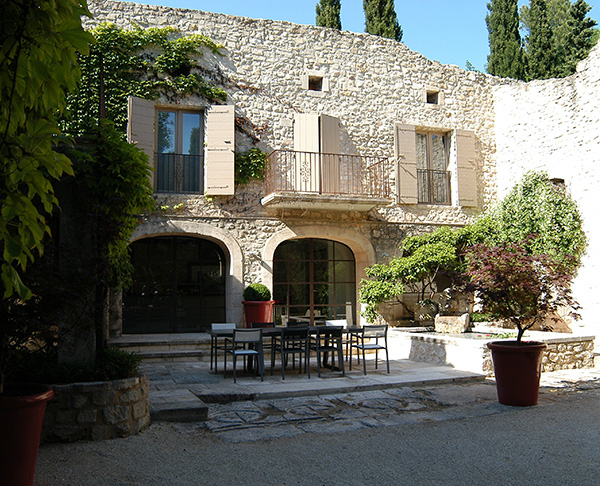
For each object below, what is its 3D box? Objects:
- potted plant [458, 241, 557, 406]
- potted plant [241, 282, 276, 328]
[{"bbox_3d":[2.712,1.015,7.408,1.074,2.025,0.589,-1,-2,16],"label":"potted plant"},{"bbox_3d":[-0.817,1.162,11.340,0.781,1.144,0.742,1,-11,-7],"label":"potted plant"}]
